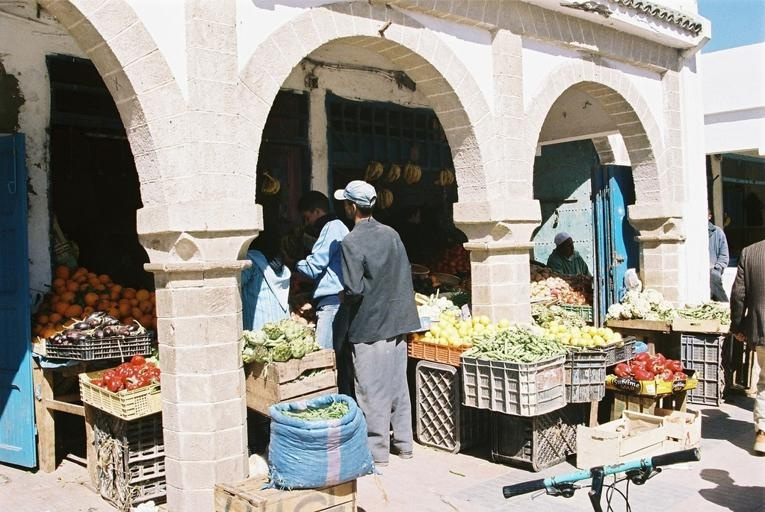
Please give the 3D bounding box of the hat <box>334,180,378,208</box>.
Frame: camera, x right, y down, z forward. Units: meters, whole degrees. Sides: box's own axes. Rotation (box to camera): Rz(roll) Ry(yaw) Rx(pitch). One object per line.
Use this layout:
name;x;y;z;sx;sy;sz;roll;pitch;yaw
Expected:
hat;-0.292;-0.728;7.959;0.405;0.214;0.288;25;30;25

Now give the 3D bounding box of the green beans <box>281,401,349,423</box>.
green beans;-0.604;1.434;6.667;0.591;0.161;0.382;-2;0;-15

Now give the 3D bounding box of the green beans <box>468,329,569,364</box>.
green beans;1.479;0.981;8.069;1.084;0.354;0.696;-1;0;13

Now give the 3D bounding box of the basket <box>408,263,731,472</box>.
basket;2.005;1.386;8.990;1.647;1.203;2.733;1;2;43

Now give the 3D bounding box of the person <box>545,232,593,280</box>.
person;3.374;0.006;13.000;0.636;0.896;0.502;-16;4;-34

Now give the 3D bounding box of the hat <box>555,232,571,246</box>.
hat;3.163;-0.312;12.657;0.230;0.164;0.231;-19;16;-6

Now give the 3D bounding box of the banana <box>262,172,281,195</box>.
banana;-1.579;-1.019;10.219;0.225;0.287;0.083;-24;-4;-5

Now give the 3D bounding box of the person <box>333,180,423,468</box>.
person;-0.047;0.743;7.953;0.916;3.037;0.395;-2;0;-34
